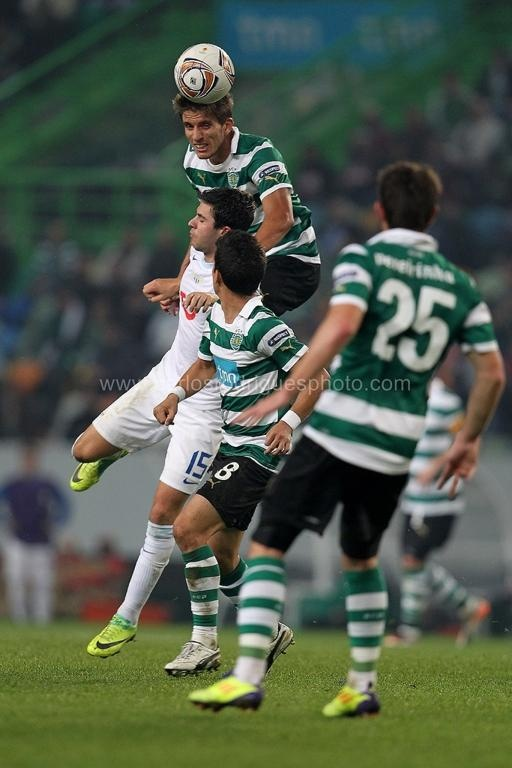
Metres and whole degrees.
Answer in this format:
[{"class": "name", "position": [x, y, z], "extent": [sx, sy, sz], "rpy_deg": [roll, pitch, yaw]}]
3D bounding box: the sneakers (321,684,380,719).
[{"class": "sneakers", "position": [0.297, 0.985, 2.715], "extent": [0.222, 0.077, 0.069], "rpy_deg": [1, -6, -11]}]

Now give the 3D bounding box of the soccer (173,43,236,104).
[{"class": "soccer", "position": [-0.242, -1.485, 4.197], "extent": [0.286, 0.328, 0.220], "rpy_deg": [-9, 7, -18]}]
